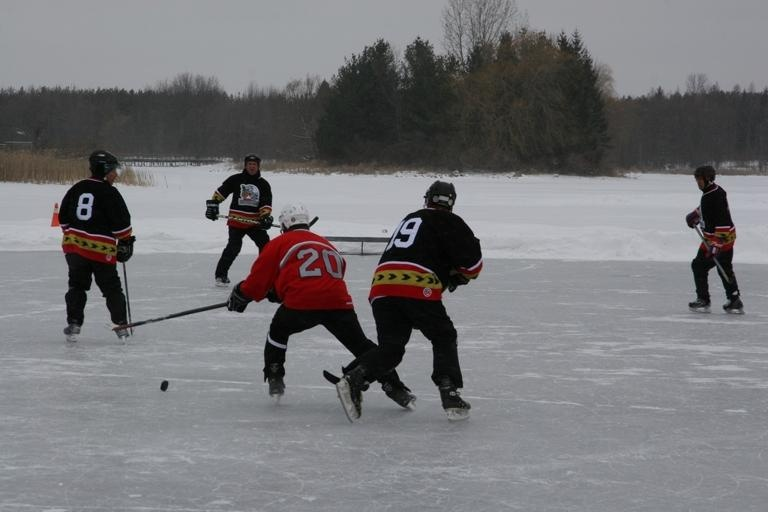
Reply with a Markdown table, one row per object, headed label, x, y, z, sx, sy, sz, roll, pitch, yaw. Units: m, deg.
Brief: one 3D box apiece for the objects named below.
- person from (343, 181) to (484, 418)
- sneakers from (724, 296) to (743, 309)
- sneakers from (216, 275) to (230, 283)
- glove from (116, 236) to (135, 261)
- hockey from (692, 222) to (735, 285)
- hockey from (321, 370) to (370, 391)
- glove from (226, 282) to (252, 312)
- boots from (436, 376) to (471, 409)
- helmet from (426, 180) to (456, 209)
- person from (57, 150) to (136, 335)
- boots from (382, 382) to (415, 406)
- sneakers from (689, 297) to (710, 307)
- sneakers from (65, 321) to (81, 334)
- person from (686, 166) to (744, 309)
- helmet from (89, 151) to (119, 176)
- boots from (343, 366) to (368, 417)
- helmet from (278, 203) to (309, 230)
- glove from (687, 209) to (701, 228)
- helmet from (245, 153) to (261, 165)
| label | x | y | z | sx | sy | sz | roll | pitch | yaw |
| --- | --- | --- | --- | --- | --- | --- | --- | --- | --- |
| person | 0.300 | 0.585 | 10.835 | 1.264 | 1.979 | 0.833 | 0 | 15 | 4 |
| sneakers | 4.615 | 0.635 | 14.655 | 0.127 | 0.123 | 0.278 | 0 | 2 | -4 |
| sneakers | -2.307 | 0.353 | 15.965 | 0.080 | 0.076 | 0.209 | 0 | -2 | -35 |
| glove | -3.062 | -0.082 | 13.154 | 0.256 | 0.289 | 0.123 | -2 | 6 | -23 |
| hockey | 4.496 | -0.009 | 15.101 | 0.177 | 1.074 | 0.127 | -17 | -20 | -44 |
| hockey | -0.369 | 1.197 | 10.849 | 0.387 | 0.124 | 0.262 | 12 | 1 | -1 |
| glove | -1.470 | 0.424 | 11.305 | 0.258 | 0.195 | 0.322 | -4 | 13 | -7 |
| boots | 0.624 | 1.374 | 10.959 | 0.152 | 0.249 | 0.402 | -2 | -2 | 13 |
| helmet | 0.571 | -0.635 | 11.074 | 0.296 | 0.288 | 0.296 | 13 | 27 | -6 |
| person | -3.360 | -0.139 | 13.021 | 0.826 | 2.063 | 0.799 | -4 | 15 | -13 |
| boots | 0.164 | 1.387 | 11.071 | 0.335 | 0.115 | 0.184 | 26 | -36 | -2 |
| sneakers | 4.178 | 0.622 | 14.694 | 0.244 | 0.138 | 0.120 | 4 | 3 | 11 |
| sneakers | -3.595 | 0.853 | 12.890 | 0.158 | 0.131 | 0.138 | 8 | -25 | 0 |
| person | 4.485 | -0.224 | 14.983 | 0.768 | 1.953 | 1.301 | 3 | 15 | 13 |
| helmet | -3.352 | -1.120 | 13.203 | 0.374 | 0.298 | 0.270 | -13 | 20 | -23 |
| boots | -0.264 | 1.330 | 10.721 | 0.288 | 0.412 | 0.179 | 4 | -2 | -32 |
| helmet | -0.899 | -0.385 | 11.145 | 0.253 | 0.262 | 0.294 | 0 | 11 | -12 |
| glove | 4.318 | -0.522 | 15.350 | 0.110 | 0.250 | 0.198 | 13 | -23 | -7 |
| helmet | -1.946 | -1.429 | 16.426 | 0.208 | 0.114 | 0.237 | 0 | -2 | -2 |
